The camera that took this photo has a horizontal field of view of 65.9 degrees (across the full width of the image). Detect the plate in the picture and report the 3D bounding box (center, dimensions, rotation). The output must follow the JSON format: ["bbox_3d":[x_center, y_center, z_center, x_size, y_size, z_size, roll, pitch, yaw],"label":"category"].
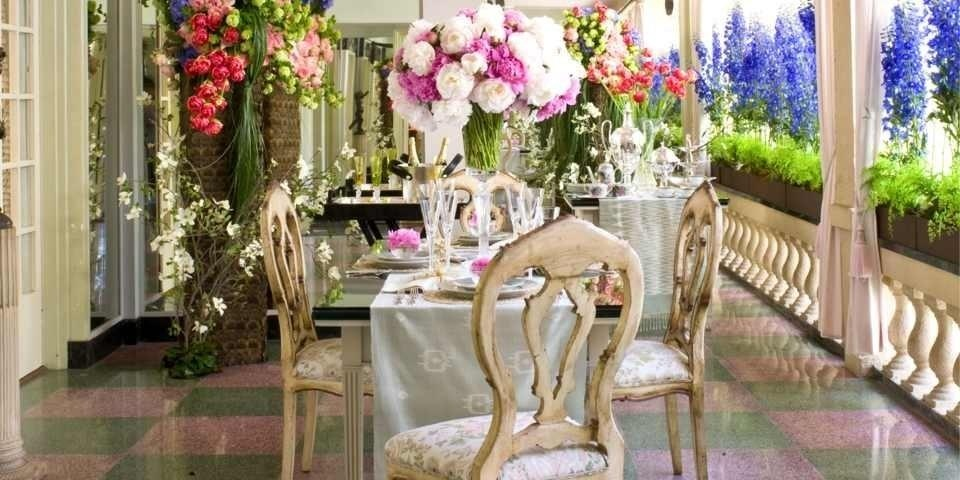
[{"bbox_3d":[-0.131,0.217,4.663,0.982,0.205,0.543,-1,9,6],"label":"plate"}]

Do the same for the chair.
[{"bbox_3d":[0.070,0.610,5.120,2.786,2.062,1.481,-2,9,-2],"label":"chair"}]

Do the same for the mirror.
[{"bbox_3d":[-0.571,-1.049,5.942,1.815,1.765,0.091,0,2,-7],"label":"mirror"}]

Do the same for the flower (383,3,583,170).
[{"bbox_3d":[-0.005,-1.010,5.245,1.054,0.893,1.032,-1,5,-7],"label":"flower"}]

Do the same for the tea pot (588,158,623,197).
[{"bbox_3d":[1.163,-0.567,6.870,0.376,0.339,0.366,1,-2,0],"label":"tea pot"}]
